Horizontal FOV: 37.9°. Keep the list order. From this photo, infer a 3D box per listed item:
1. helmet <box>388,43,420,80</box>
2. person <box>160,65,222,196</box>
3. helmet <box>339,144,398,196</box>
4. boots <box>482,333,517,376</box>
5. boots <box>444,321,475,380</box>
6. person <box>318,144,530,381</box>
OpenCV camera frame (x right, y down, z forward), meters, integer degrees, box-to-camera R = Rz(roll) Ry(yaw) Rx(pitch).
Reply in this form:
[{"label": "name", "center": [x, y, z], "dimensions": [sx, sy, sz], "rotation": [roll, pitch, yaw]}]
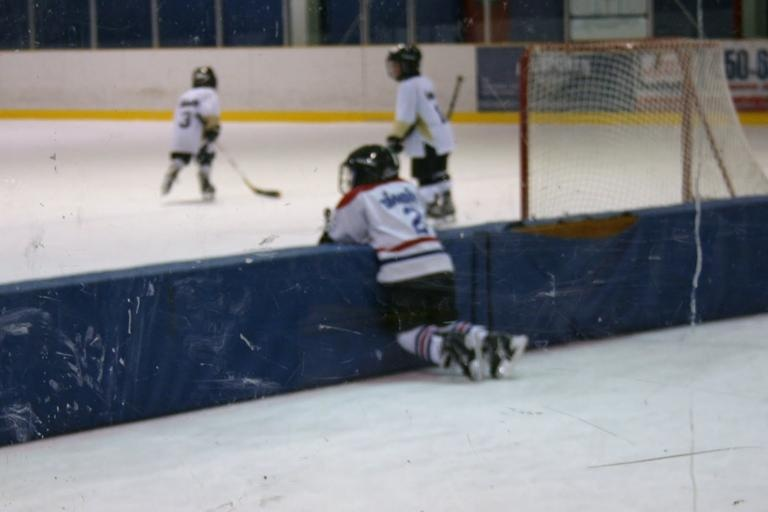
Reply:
[{"label": "helmet", "center": [0.107, -1.494, 8.593], "dimensions": [0.290, 0.254, 0.216], "rotation": [9, 16, 24]}, {"label": "person", "center": [-1.765, -1.127, 10.315], "dimensions": [0.541, 1.210, 0.290], "rotation": [-2, 5, 2]}, {"label": "helmet", "center": [-0.086, -0.541, 6.891], "dimensions": [0.346, 0.279, 0.278], "rotation": [0, 0, 1]}, {"label": "boots", "center": [0.692, 0.571, 6.685], "dimensions": [0.177, 0.261, 0.095], "rotation": [-2, 15, 8]}, {"label": "boots", "center": [0.469, 0.566, 6.679], "dimensions": [0.199, 0.344, 0.129], "rotation": [-1, 5, 10]}, {"label": "person", "center": [0.140, -0.020, 6.901], "dimensions": [0.614, 1.327, 1.707], "rotation": [-13, 16, -39]}]
